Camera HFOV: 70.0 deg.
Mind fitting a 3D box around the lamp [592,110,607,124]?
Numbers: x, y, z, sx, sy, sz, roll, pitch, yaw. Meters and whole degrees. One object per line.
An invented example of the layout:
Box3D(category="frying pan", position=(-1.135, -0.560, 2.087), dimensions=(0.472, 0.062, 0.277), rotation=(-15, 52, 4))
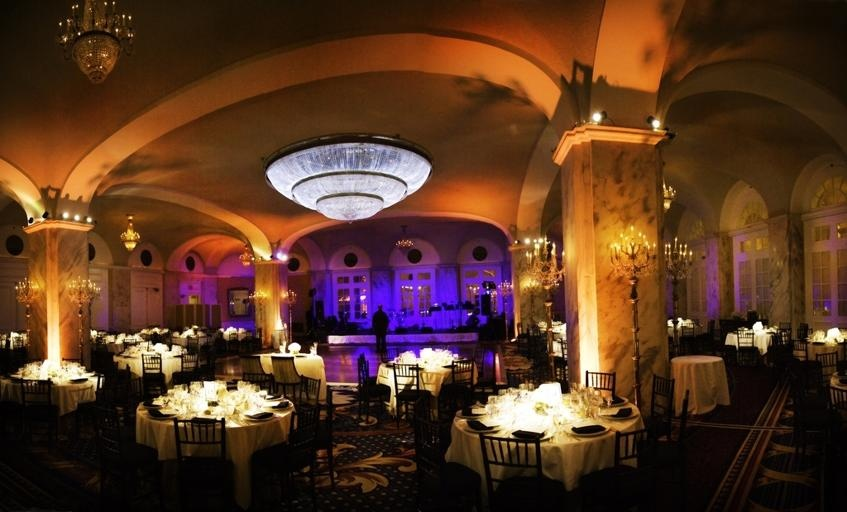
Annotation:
Box3D(category="lamp", position=(3.524, -2.801, 12.210), dimensions=(0.216, 0.287, 0.281), rotation=(5, -7, -23))

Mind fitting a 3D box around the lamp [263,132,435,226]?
Box3D(category="lamp", position=(-1.696, -1.822, 13.404), dimensions=(2.349, 0.888, 2.314), rotation=(-1, -12, -3))

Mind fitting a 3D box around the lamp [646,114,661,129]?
Box3D(category="lamp", position=(4.654, -2.716, 12.336), dimensions=(0.297, 0.277, 0.216), rotation=(-5, 5, -15))

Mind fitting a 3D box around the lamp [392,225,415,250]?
Box3D(category="lamp", position=(-1.061, -0.799, 29.066), dimensions=(1.035, 1.108, 1.007), rotation=(2, -8, -19))
